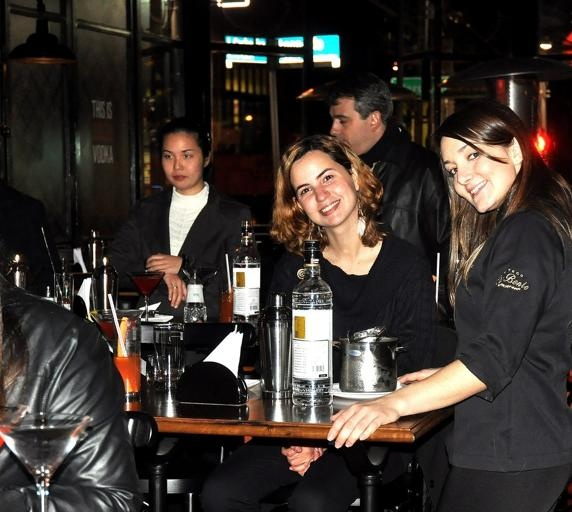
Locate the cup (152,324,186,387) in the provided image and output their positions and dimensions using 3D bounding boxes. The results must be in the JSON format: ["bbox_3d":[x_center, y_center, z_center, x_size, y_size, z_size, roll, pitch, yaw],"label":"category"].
[{"bbox_3d":[-0.362,0.302,2.093,0.089,0.194,0.142,-3,8,-25],"label":"cup"}]

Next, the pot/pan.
[{"bbox_3d":[0.234,0.304,1.895,0.208,0.154,0.134,-2,-1,2],"label":"pot/pan"}]
